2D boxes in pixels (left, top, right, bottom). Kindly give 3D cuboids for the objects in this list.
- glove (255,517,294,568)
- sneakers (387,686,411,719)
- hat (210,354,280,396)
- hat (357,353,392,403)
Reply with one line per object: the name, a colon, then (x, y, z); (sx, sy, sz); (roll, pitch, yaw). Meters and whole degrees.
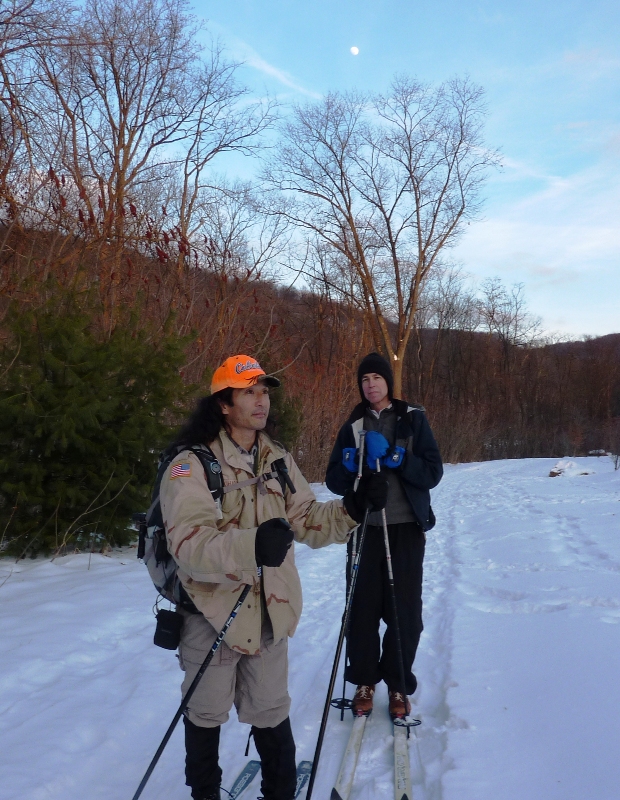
glove: (-0.133, 0.514, 2.460); (0.136, 0.160, 0.093); (8, 2, -10)
sneakers: (0.515, 1.766, 3.990); (0.139, 0.169, 0.423); (-1, -21, 6)
hat: (-0.298, -0.114, 3.077); (0.248, 0.143, 0.180); (-18, 1, 29)
hat: (0.431, -0.163, 4.519); (0.210, 0.314, 0.308); (1, -11, 6)
